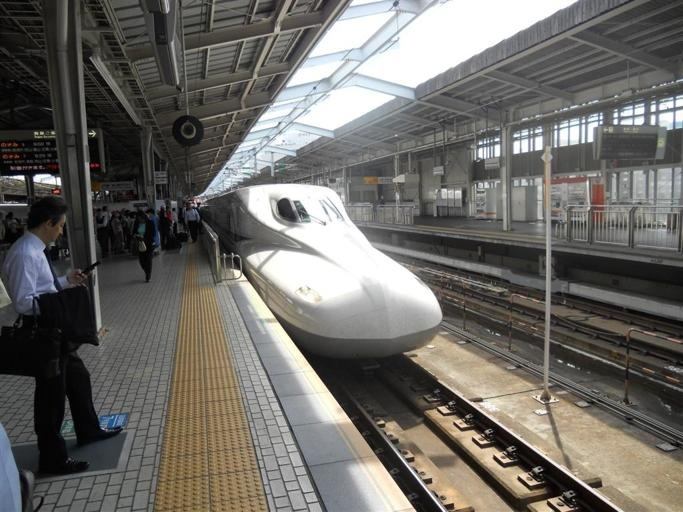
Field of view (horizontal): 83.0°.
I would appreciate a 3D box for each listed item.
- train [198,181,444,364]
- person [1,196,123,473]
[{"bbox_3d":[-0.517,0.049,8.445,2.287,3.284,4.861,-7,10,-32],"label":"train"},{"bbox_3d":[-2.390,0.689,3.237,0.622,2.311,0.711,-5,10,-21],"label":"person"}]
